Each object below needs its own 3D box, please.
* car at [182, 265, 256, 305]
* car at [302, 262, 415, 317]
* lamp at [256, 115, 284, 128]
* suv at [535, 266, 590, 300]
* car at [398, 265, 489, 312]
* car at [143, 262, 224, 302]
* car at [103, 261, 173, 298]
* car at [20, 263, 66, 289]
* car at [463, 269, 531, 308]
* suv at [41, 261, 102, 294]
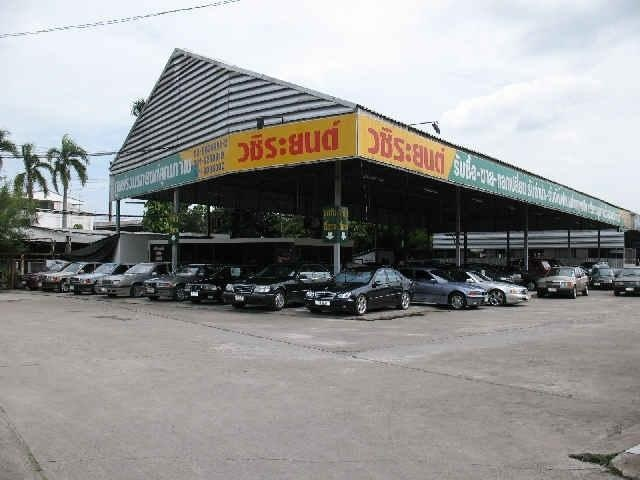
[{"bbox_3d":[-3.776,1.719,24.595,1.271,0.963,2.864,-2,-4,29],"label":"car"},{"bbox_3d":[1.457,1.704,20.603,1.454,1.117,3.337,-5,-8,37],"label":"car"},{"bbox_3d":[-2.020,-4.583,23.978,1.462,0.550,0.398,3,3,36],"label":"lamp"},{"bbox_3d":[11.748,2.044,29.570,1.289,1.009,2.977,-4,-7,30],"label":"suv"},{"bbox_3d":[4.532,1.809,22.955,3.182,1.105,1.364,-1,0,35],"label":"car"},{"bbox_3d":[-5.608,1.813,25.924,1.434,0.967,2.839,-3,-5,35],"label":"car"},{"bbox_3d":[-8.133,1.773,27.764,1.366,1.047,3.060,-2,-4,33],"label":"car"},{"bbox_3d":[-14.475,1.929,32.543,1.244,0.876,2.344,-3,-5,30],"label":"car"},{"bbox_3d":[6.782,1.966,23.933,2.554,0.788,1.183,-1,-1,17],"label":"car"},{"bbox_3d":[-12.574,1.870,31.434,1.374,1.135,2.447,-3,-5,40],"label":"suv"}]
